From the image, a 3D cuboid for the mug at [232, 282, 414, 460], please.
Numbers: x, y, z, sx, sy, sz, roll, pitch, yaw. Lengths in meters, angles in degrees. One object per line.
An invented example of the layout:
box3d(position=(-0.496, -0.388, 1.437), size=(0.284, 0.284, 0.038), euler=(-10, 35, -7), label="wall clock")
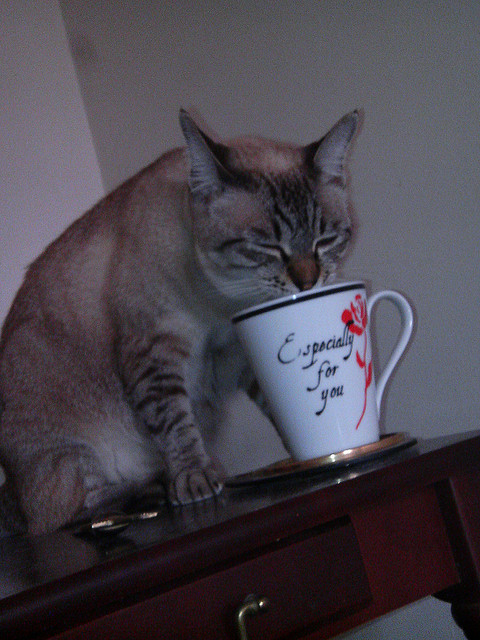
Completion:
box3d(position=(0.049, 0.072, 0.557), size=(0.161, 0.182, 0.122), euler=(-5, -9, -38), label="mug")
